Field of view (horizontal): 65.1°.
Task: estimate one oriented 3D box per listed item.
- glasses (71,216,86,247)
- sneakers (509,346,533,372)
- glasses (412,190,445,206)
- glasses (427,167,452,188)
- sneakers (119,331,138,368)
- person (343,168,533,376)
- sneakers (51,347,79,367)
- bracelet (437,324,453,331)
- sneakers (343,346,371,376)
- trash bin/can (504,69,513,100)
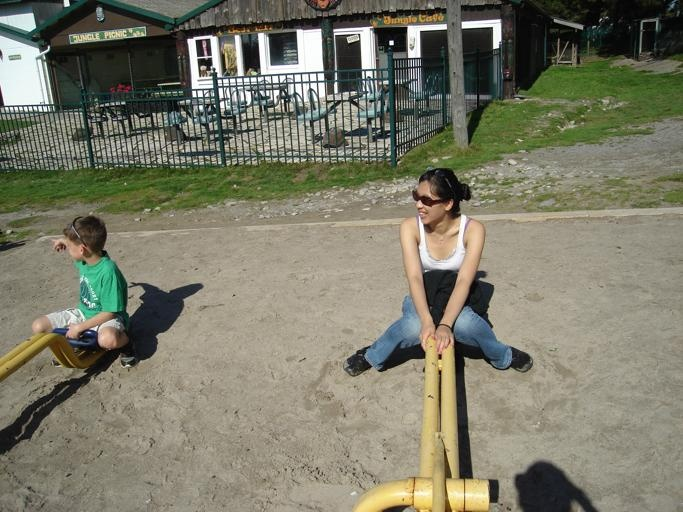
[{"bbox_3d":[-2.132,-0.189,4.331,0.065,0.203,0.216,-20,40,-34],"label":"glasses"},{"bbox_3d":[1.327,0.766,3.967,0.248,0.103,0.101,15,11,24],"label":"sneakers"},{"bbox_3d":[0.604,-0.390,3.738,0.156,0.042,0.151,6,7,-38],"label":"glasses"},{"bbox_3d":[0.701,-0.566,3.780,0.133,0.126,0.166,-10,37,-42],"label":"glasses"},{"bbox_3d":[-1.763,0.818,4.413,0.115,0.179,0.285,-1,0,-4],"label":"sneakers"},{"bbox_3d":[0.697,0.164,3.832,1.174,1.522,0.750,-12,20,-23],"label":"person"},{"bbox_3d":[-2.431,0.871,4.610,0.382,0.136,0.121,-1,14,18],"label":"sneakers"},{"bbox_3d":[0.710,0.483,3.632,0.090,0.048,0.089,-1,17,10],"label":"bracelet"},{"bbox_3d":[0.144,0.799,4.137,0.290,0.112,0.116,-38,16,-30],"label":"sneakers"},{"bbox_3d":[5.878,-6.057,18.721,0.307,1.065,0.270,0,19,15],"label":"trash bin/can"}]
